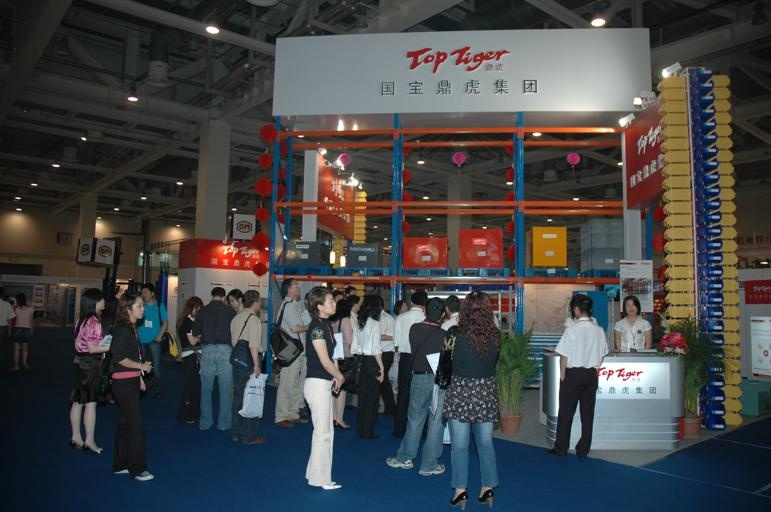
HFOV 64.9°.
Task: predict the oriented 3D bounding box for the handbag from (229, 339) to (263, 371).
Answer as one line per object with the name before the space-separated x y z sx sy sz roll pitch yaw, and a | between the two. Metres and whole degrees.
handbag | -2.144 1.492 9.053 0.443 0.462 0.192 4 12 16

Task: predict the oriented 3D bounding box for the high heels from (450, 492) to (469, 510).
high heels | 0.916 3.021 7.606 0.211 0.225 0.278 4 12 16

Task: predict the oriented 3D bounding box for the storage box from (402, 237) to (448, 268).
storage box | 0.808 -0.066 12.523 1.066 0.711 0.563 0 -3 1

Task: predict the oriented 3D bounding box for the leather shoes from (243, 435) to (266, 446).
leather shoes | -1.971 2.766 9.091 0.366 0.240 0.125 1 -17 -10

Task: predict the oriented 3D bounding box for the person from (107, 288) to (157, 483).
person | -3.409 1.731 8.014 0.598 2.425 0.670 -4 12 -18

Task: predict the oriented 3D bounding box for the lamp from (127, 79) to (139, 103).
lamp | -6.480 -4.184 15.479 0.292 0.557 0.558 -4 13 -20

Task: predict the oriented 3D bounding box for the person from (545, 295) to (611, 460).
person | 2.781 1.733 8.755 0.659 2.299 0.530 4 12 16

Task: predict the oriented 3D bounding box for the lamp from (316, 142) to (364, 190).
lamp | -1.186 -2.228 15.521 0.740 0.897 2.547 0 -3 24

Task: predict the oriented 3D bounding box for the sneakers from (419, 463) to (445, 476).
sneakers | 0.630 2.903 8.313 0.348 0.132 0.136 0 -2 -23

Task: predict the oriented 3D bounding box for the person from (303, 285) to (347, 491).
person | -0.818 1.730 7.898 0.506 2.534 0.627 -1 12 -8

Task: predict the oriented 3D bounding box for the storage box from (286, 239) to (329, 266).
storage box | -1.595 -0.074 12.552 0.598 0.361 0.586 1 1 11

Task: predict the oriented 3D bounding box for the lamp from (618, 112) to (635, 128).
lamp | 4.687 -2.639 11.780 0.270 0.260 0.355 -10 16 -41

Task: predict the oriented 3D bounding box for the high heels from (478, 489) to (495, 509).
high heels | 1.293 3.009 7.549 0.120 0.186 0.356 0 -4 -10

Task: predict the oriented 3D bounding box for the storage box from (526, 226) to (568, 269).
storage box | 3.369 -0.161 12.519 0.788 0.768 0.774 0 -7 -2

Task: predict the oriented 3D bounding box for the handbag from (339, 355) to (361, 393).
handbag | -0.569 1.773 9.081 0.477 0.428 0.340 14 -24 -28

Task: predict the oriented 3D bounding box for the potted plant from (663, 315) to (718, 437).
potted plant | 5.057 2.035 9.912 0.948 1.717 1.069 -1 -26 36

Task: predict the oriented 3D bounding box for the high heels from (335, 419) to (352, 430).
high heels | -0.710 2.723 9.795 0.314 0.120 0.114 3 -8 4

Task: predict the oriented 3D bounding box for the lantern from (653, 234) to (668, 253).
lantern | 5.180 -0.254 11.411 0.246 0.256 0.451 -3 -1 11

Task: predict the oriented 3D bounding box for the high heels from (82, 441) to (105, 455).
high heels | -4.210 2.756 8.729 0.328 0.128 0.118 20 -13 -6

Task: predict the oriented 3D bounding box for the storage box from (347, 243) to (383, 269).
storage box | -0.450 -0.004 12.365 0.728 0.495 0.393 0 12 -1

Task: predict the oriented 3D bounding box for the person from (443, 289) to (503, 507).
person | 1.090 1.799 7.562 0.724 2.638 0.697 -1 12 -4

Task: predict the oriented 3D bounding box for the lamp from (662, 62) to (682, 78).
lamp | 4.842 -3.112 10.209 0.300 0.249 0.412 6 13 25

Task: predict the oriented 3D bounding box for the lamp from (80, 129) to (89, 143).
lamp | -9.504 -3.768 19.092 0.248 0.397 1.919 -5 13 -26

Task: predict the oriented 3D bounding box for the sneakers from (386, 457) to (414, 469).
sneakers | 0.188 2.884 8.429 0.325 0.138 0.149 6 -10 13
